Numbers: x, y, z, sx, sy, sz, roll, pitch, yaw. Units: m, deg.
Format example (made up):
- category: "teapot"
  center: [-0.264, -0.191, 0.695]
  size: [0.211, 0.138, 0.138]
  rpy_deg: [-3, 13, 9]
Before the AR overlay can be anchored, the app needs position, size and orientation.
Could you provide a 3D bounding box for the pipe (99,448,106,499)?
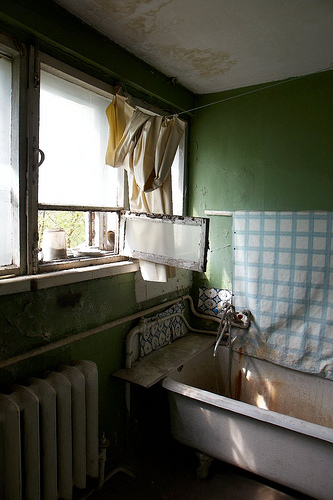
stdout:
- category: "pipe"
  center: [-0.306, 1.041, 1.752]
  size: [0.024, 0.297, 0.114]
  rpy_deg: [1, 10, -10]
